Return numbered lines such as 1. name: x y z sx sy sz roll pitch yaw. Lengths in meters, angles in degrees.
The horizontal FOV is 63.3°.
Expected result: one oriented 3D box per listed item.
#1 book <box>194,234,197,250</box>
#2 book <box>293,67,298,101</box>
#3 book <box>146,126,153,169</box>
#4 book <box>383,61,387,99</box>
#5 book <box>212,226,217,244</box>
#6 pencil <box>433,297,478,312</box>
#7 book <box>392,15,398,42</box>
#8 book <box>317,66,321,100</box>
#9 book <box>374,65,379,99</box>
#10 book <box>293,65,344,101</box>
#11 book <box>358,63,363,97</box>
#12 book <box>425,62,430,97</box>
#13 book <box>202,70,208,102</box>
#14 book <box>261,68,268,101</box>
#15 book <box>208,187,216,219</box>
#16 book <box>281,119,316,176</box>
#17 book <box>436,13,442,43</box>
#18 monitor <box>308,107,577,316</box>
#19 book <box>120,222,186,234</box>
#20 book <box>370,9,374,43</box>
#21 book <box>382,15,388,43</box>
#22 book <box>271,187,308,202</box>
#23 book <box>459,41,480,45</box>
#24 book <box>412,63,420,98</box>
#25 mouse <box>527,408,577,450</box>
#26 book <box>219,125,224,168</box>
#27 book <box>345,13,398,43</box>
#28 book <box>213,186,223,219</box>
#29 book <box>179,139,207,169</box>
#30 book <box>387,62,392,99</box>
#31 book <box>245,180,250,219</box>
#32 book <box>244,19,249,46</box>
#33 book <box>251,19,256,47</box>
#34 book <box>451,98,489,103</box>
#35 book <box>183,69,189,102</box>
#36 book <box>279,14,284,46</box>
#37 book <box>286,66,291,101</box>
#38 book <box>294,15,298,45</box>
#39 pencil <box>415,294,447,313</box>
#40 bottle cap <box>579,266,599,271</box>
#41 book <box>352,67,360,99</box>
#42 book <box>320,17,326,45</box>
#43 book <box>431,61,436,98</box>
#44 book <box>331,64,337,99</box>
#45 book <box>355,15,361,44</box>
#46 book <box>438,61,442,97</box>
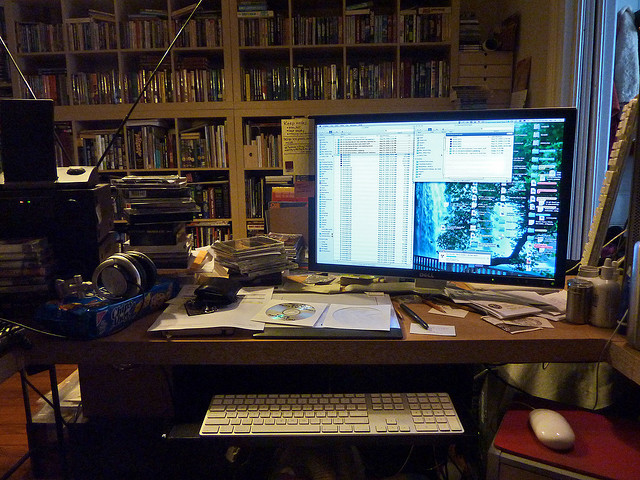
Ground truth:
1. book: -0.915 0.003 3.820 0.022 0.095 0.060 -6 14 -15
2. book: -0.171 -1.098 3.631 0.028 0.216 0.036 4 15 22
3. book: -1.222 -0.668 3.735 0.054 0.283 0.030 -4 14 -6
4. book: 0.456 -1.123 3.633 0.027 0.238 0.040 0 14 7
5. book: -0.763 -0.034 3.816 0.041 0.102 0.113 1 7 -3
6. pencil: 0.397 0.191 1.527 0.107 0.010 0.010 13 41 25
7. book: 0.516 -1.447 3.548 0.037 0.171 0.021 4 16 23
8. book: -0.006 -1.097 3.629 0.028 0.206 0.013 -2 14 0
9. book: 0.395 -1.111 3.632 0.034 0.216 0.021 -4 14 -6
10. book: -0.016 -1.102 3.717 0.355 0.281 0.172 -1 -11 1
11. book: 0.284 -1.116 3.622 0.035 0.222 0.015 4 15 21
12. book: 0.750 -1.119 3.615 0.031 0.223 0.021 1 15 10
13. book: -0.810 -1.093 3.666 0.029 0.206 0.031 -5 15 -11
14. book: -0.393 -1.088 3.643 0.041 0.210 0.046 3 15 18
15. book: -0.782 -0.271 3.764 0.044 0.166 0.173 2 2 -10
16. book: -0.061 -0.351 1.971 0.150 0.205 0.153 8 13 39
17. book: 0.813 -1.451 3.537 0.041 0.171 0.015 1 15 11
18. monitor: 0.369 -0.130 1.518 0.850 0.610 0.170 6 11 13
19. book: -0.559 -0.045 1.725 0.205 0.040 0.083 -3 13 -7
20. book: 0.357 -1.454 3.552 0.028 0.190 0.019 -3 14 -2
21. book: 0.447 -1.446 3.552 0.037 0.166 0.016 -5 15 -10
22. book: -0.120 -0.170 2.012 0.122 0.051 0.232 -5 13 -16
23. book: 1.047 -1.386 3.641 0.145 0.023 0.027 -3 13 -9
24. book: 0.678 -1.117 3.622 0.033 0.232 0.043 -1 14 4
25. mouse: 0.577 0.455 1.300 0.094 0.047 0.152 -17 11 10
26. book: -0.702 -0.671 3.713 0.025 0.286 0.039 -5 15 -10
27. book: 0.364 -1.511 3.588 0.311 0.259 0.151 2 54 9
28. book: -0.735 -0.267 3.769 0.043 0.166 0.178 0 6 -7
29. book: -0.977 -0.641 3.801 0.181 0.214 0.242 9 16 40
30. book: 0.489 -1.122 3.631 0.033 0.236 0.021 -4 14 -7
31. book: -0.525 -0.296 3.764 0.031 0.279 0.046 -1 14 5
32. book: -0.506 -1.440 3.594 0.033 0.173 0.021 -2 14 0
33. book: -0.459 -1.436 3.585 0.020 0.175 0.030 -4 14 -6
34. book: 0.879 -0.837 3.102 0.222 0.022 0.145 5 14 27
35. book: -0.951 -1.098 3.671 0.043 0.161 0.171 3 8 -10
36. book: -0.268 -1.441 3.570 0.031 0.201 0.072 -3 14 -4
37. book: -0.223 -1.106 3.652 0.045 0.171 0.185 1 6 -7
38. book: -0.164 -1.443 3.574 0.028 0.180 0.042 -1 14 5
39. pencil: 0.341 0.184 1.572 0.016 0.013 0.137 13 14 -22
40. bottle cap: 0.738 0.076 1.421 0.046 0.009 0.028 4 14 24
41. book: 0.252 -1.095 3.625 0.047 0.208 0.061 2 15 15
42. book: 0.022 -1.436 3.557 0.036 0.169 0.026 -2 14 0
43. book: 0.789 -1.118 3.606 0.030 0.235 0.030 1 15 12
44. book: 0.097 -1.103 3.621 0.041 0.223 0.025 -2 14 -1
45. book: 0.260 -1.449 3.554 0.041 0.180 0.023 -1 14 4
46. book: 0.836 -1.117 3.601 0.026 0.235 0.031 -2 14 1
